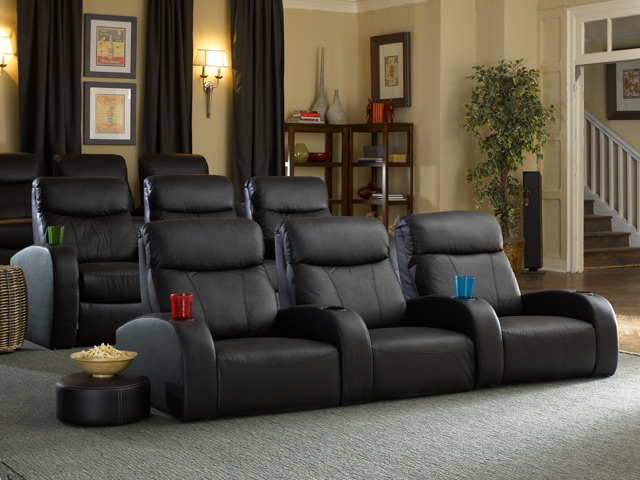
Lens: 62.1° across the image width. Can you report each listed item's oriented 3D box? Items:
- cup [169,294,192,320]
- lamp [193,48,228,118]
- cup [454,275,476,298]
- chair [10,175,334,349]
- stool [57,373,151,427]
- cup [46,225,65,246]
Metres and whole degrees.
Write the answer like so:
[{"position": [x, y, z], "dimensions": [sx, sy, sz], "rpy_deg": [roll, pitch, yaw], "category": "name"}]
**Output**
[{"position": [-0.693, 0.335, 2.656], "dimensions": [0.092, 0.129, 0.133], "rpy_deg": [0, -1, -21], "category": "cup"}, {"position": [-1.525, -2.201, 7.442], "dimensions": [0.442, 0.948, 0.214], "rpy_deg": [0, -1, -10], "category": "lamp"}, {"position": [0.872, 0.283, 3.221], "dimensions": [0.128, 0.132, 0.121], "rpy_deg": [1, -7, 0], "category": "cup"}, {"position": [-1.117, 0.161, 3.787], "dimensions": [1.508, 0.847, 0.750], "rpy_deg": [0, -1, -31], "category": "chair"}, {"position": [-0.949, 0.781, 2.567], "dimensions": [0.233, 0.110, 0.229], "rpy_deg": [-15, -2, 6], "category": "stool"}, {"position": [-2.088, -0.027, 4.217], "dimensions": [0.114, 0.167, 0.277], "rpy_deg": [1, -1, -27], "category": "cup"}]
